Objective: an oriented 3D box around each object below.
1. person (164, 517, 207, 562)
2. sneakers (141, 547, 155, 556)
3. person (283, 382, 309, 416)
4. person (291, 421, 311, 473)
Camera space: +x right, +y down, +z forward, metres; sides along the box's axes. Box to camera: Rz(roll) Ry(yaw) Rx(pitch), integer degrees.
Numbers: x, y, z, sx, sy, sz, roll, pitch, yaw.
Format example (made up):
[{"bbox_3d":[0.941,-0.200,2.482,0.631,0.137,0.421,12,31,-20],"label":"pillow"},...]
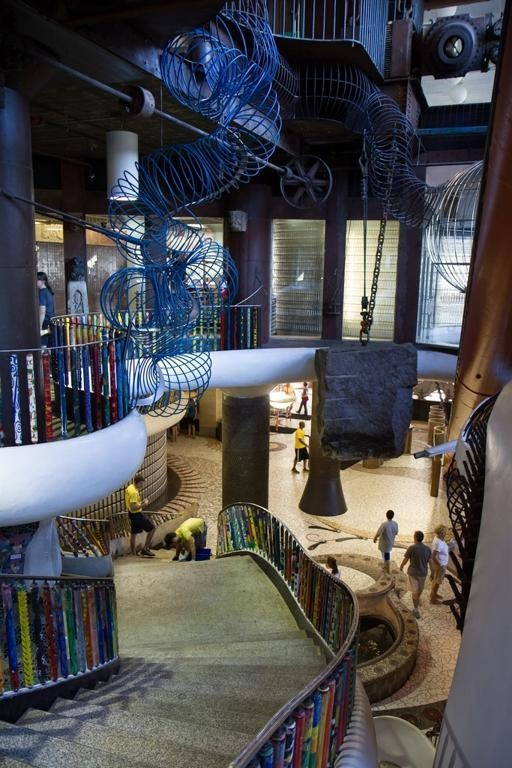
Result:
[{"bbox_3d":[-0.988,2.159,7.411,0.517,0.566,0.874,2,-12,-10],"label":"person"},{"bbox_3d":[-1.650,2.558,8.151,0.201,0.096,0.076,5,3,31],"label":"sneakers"},{"bbox_3d":[1.146,0.411,15.243,0.681,1.070,1.820,-1,-12,3],"label":"person"},{"bbox_3d":[0.987,1.416,11.750,0.493,1.419,0.588,-1,22,0],"label":"person"}]
